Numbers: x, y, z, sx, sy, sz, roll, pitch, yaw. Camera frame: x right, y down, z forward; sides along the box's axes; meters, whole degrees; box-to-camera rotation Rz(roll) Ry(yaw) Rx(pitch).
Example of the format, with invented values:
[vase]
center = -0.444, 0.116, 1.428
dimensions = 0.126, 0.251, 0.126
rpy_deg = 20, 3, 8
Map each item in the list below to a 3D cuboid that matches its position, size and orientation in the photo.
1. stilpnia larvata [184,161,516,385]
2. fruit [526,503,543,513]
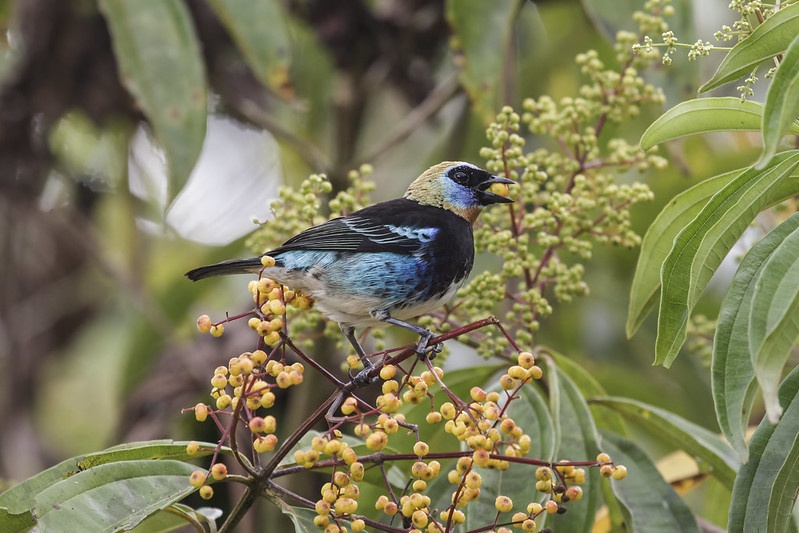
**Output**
[stilpnia larvata]
center = -0.287, 0.006, 6.065
dimensions = 1.706, 1.268, 0.618
rpy_deg = 1, -18, 2
[fruit]
center = 0.621, 1.119, 5.033
dimensions = 0.061, 0.066, 0.036
rpy_deg = -6, 60, 6
